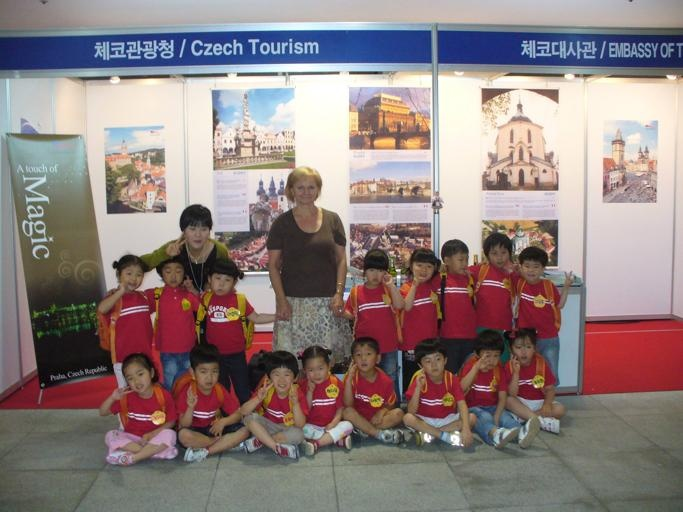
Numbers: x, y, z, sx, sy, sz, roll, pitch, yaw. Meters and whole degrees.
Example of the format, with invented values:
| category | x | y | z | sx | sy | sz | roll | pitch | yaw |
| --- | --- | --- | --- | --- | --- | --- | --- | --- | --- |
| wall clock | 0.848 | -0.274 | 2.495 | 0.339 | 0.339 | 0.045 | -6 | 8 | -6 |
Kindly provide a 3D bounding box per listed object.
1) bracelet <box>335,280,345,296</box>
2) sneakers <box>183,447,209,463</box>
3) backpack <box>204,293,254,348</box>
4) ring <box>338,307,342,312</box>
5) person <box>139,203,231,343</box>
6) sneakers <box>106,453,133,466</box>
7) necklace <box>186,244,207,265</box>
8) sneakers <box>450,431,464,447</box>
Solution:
| category | x | y | z | sx | sy | sz | roll | pitch | yaw |
| --- | --- | --- | --- | --- | --- | --- | --- | --- | --- |
| bracelet | -0.008 | 0.263 | 5.062 | 0.031 | 0.125 | 0.086 | 2 | 0 | -12 |
| sneakers | -1.117 | 1.520 | 4.614 | 0.086 | 0.082 | 0.213 | -2 | -3 | 10 |
| backpack | -0.954 | 0.533 | 5.023 | 0.428 | 0.514 | 0.273 | -2 | 0 | -9 |
| ring | -0.002 | 0.442 | 5.021 | 0.030 | 0.045 | 0.042 | -3 | -8 | 0 |
| person | -1.243 | 0.270 | 5.244 | 0.843 | 1.402 | 0.353 | -5 | 21 | -14 |
| sneakers | -1.674 | 1.527 | 4.606 | 0.222 | 0.088 | 0.104 | 3 | 11 | -1 |
| necklace | -1.214 | -0.012 | 5.095 | 0.118 | 0.163 | 0.171 | -1 | 4 | -4 |
| sneakers | 0.927 | 1.450 | 4.786 | 0.107 | 0.117 | 0.107 | 2 | 12 | 14 |
